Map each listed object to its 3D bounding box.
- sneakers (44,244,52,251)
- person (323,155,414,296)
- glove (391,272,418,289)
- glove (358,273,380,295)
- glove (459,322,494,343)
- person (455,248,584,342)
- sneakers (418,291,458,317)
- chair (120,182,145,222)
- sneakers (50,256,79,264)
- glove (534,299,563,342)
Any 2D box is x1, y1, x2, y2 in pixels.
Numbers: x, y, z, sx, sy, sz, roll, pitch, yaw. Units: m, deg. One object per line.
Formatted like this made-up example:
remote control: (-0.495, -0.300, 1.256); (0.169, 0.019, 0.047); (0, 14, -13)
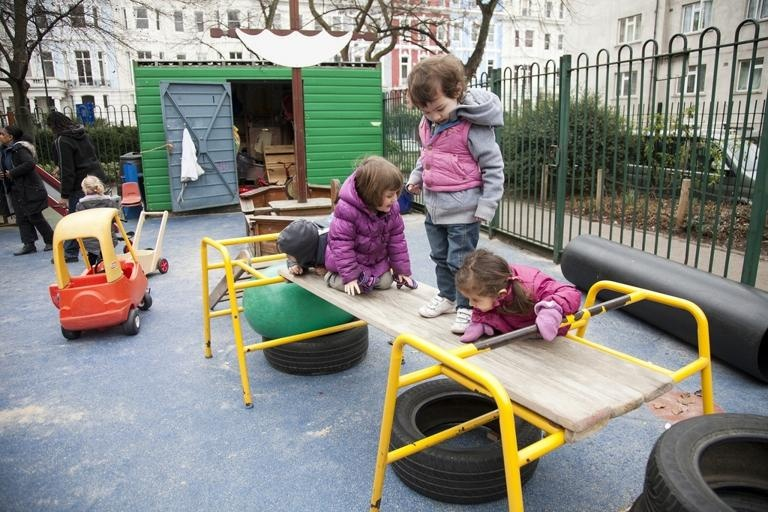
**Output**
sneakers: (-5.831, -0.157, 8.499); (0.121, 0.097, 0.221); (-5, 0, -41)
person: (-0.080, -0.228, 3.853); (0.741, 1.106, 0.800); (8, 27, 7)
glove: (0.172, 0.208, 4.026); (0.212, 0.095, 0.081); (0, 12, 8)
glove: (-0.111, 0.207, 3.855); (0.159, 0.069, 0.122); (7, 2, -37)
glove: (0.597, 0.494, 3.189); (0.117, 0.082, 0.191); (-6, 1, 39)
person: (0.865, 0.251, 3.140); (0.754, 0.550, 0.732); (-2, 1, -12)
sneakers: (0.393, 0.363, 3.630); (0.322, 0.144, 0.116); (-1, 9, -33)
chair: (-5.536, -1.200, 10.708); (0.394, 0.830, 0.676); (-10, 19, -28)
sneakers: (-4.260, 0.041, 6.555); (0.270, 0.130, 0.101); (-8, 13, -32)
glove: (0.989, 0.387, 2.940); (0.174, 0.239, 0.100); (1, -8, -7)
